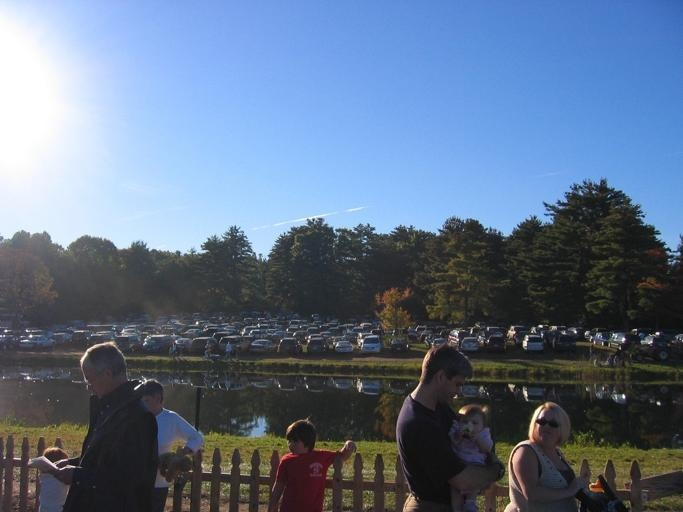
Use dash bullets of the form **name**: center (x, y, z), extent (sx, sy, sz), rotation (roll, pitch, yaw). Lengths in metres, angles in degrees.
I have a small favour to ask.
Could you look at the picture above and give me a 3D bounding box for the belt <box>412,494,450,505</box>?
- **belt**: center (2.009, 5.375, 17.161), extent (0.775, 0.215, 0.101), rotation (0, -11, 1)
